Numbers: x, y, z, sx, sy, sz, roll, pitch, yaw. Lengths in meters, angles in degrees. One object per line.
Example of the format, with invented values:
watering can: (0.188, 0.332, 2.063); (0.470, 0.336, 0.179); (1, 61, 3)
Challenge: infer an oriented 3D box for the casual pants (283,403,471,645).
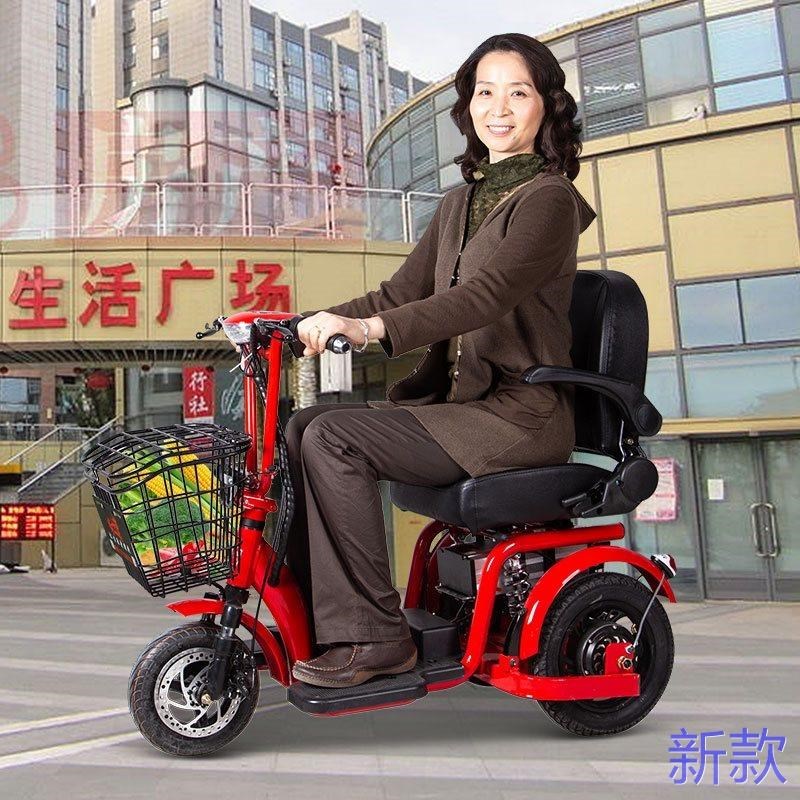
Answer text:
casual pants: (-0.062, 0.394, 2.792); (0.491, 0.745, 0.197); (-4, 0, -29)

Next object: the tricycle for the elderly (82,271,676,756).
tricycle for the elderly: (-0.077, 0.535, 3.016); (1.878, 1.047, 0.893); (-5, 0, -19)

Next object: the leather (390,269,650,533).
leather: (0.491, 0.033, 3.392); (1.283, 0.916, 0.837); (0, -2, -20)

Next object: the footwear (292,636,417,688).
footwear: (-0.129, 0.813, 2.719); (0.421, 0.128, 0.144); (-2, 0, -34)

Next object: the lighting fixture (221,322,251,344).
lighting fixture: (-0.534, -0.217, 2.805); (0.077, 0.075, 0.023); (-3, -7, -5)

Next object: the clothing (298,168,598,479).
clothing: (0.361, -0.238, 3.336); (1.330, 1.007, 1.039); (5, -2, -20)
